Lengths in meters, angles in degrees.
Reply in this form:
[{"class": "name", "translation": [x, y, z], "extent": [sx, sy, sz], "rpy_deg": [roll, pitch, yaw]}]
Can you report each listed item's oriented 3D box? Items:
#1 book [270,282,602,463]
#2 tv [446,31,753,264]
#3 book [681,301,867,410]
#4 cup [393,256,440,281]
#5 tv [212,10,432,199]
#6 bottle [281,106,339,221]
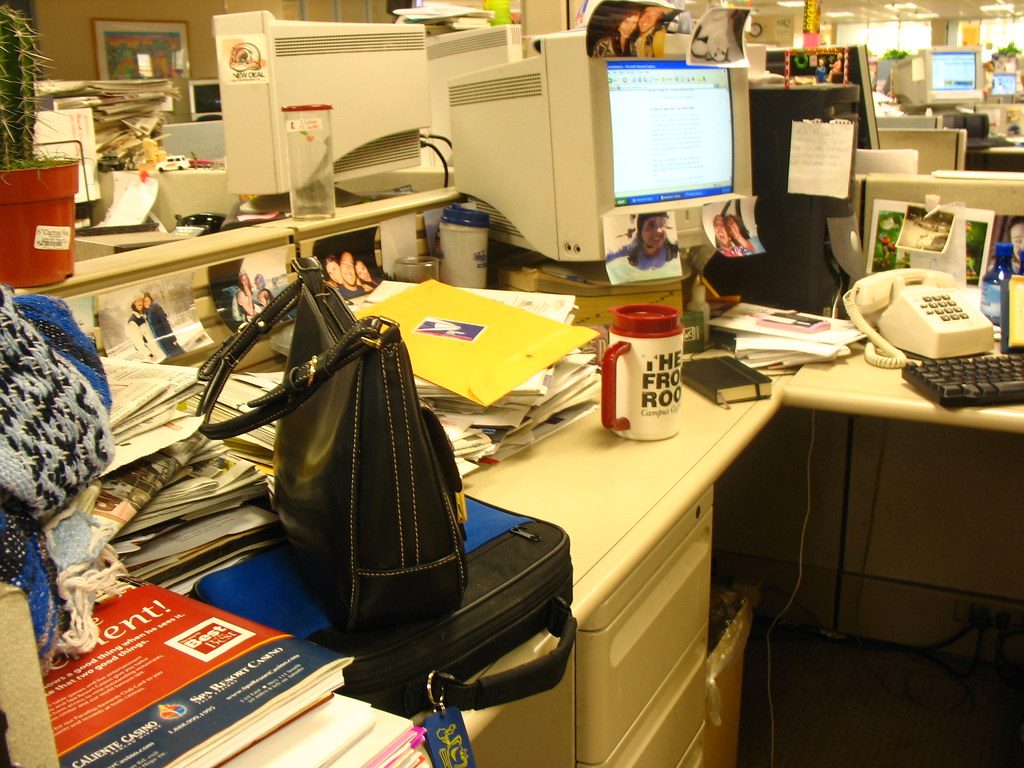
[{"class": "book", "translation": [-0.056, 0.004, 1.185], "extent": [0.362, 0.112, 0.368], "rpy_deg": [28, 44, 30]}, {"class": "tv", "translation": [0.166, -0.458, 1.675], "extent": [0.518, 0.472, 0.536], "rpy_deg": [16, 24, 39]}, {"class": "book", "translation": [0.485, -0.066, 1.467], "extent": [0.241, 0.061, 0.256], "rpy_deg": [21, 35, 39]}, {"class": "cup", "translation": [-0.184, -0.238, 1.492], "extent": [0.068, 0.060, 0.053], "rpy_deg": [-4, 18, -16]}, {"class": "tv", "translation": [-0.389, -0.588, 1.585], "extent": [0.188, 0.354, 0.553], "rpy_deg": [18, 31, 36]}, {"class": "bottle", "translation": [-0.374, -0.416, 1.389], "extent": [0.099, 0.200, 0.173], "rpy_deg": [-10, 19, -14]}]
